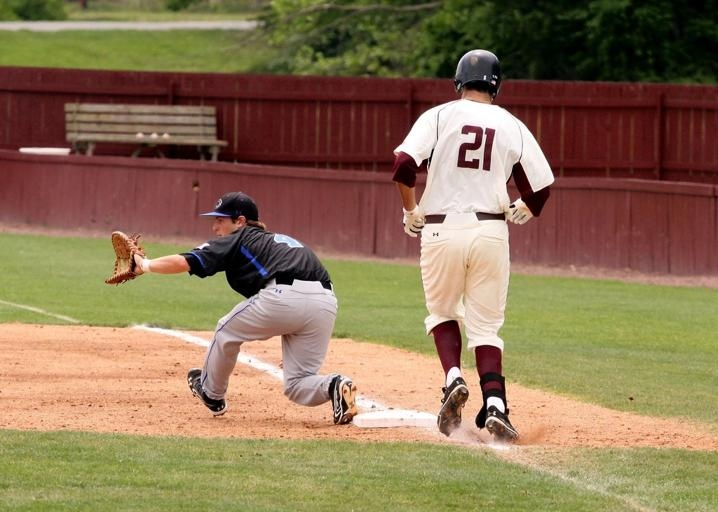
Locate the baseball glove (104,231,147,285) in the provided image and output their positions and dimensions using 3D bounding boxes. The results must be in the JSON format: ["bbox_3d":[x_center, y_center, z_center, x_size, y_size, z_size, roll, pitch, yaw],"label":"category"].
[{"bbox_3d":[-2.427,0.003,16.684,0.240,0.557,0.405,15,-3,-32],"label":"baseball glove"}]

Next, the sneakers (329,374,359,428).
[{"bbox_3d":[-0.146,1.480,16.543,0.293,0.493,0.225,1,14,-1],"label":"sneakers"}]

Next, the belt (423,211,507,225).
[{"bbox_3d":[1.095,-0.386,16.138,0.805,0.150,0.148,2,14,0],"label":"belt"}]

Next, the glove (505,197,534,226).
[{"bbox_3d":[1.663,-0.458,16.346,0.220,0.287,0.132,45,8,1],"label":"glove"}]

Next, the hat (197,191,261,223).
[{"bbox_3d":[-1.323,-0.516,16.716,0.502,0.271,0.319,6,3,-4],"label":"hat"}]

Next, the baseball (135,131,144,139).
[{"bbox_3d":[-3.501,-1.944,25.654,0.123,0.079,0.204,0,14,-8],"label":"baseball"}]

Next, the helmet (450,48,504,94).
[{"bbox_3d":[1.262,-1.957,16.555,0.481,0.532,0.628,4,4,12],"label":"helmet"}]

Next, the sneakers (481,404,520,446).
[{"bbox_3d":[1.419,1.708,16.012,0.206,0.221,0.480,-29,-47,20],"label":"sneakers"}]
